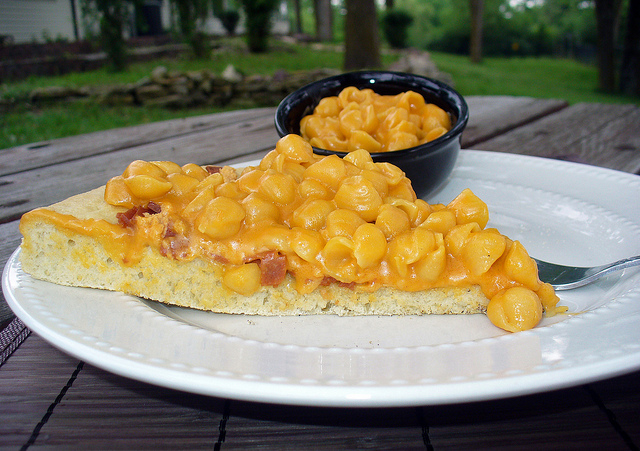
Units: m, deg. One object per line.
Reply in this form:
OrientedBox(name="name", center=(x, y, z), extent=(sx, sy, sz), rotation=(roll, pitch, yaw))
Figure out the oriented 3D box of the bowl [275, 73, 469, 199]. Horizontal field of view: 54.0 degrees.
OrientedBox(name="bowl", center=(0.242, -0.412, 2.542), extent=(0.672, 0.285, 0.657), rotation=(-7, 26, 4))
